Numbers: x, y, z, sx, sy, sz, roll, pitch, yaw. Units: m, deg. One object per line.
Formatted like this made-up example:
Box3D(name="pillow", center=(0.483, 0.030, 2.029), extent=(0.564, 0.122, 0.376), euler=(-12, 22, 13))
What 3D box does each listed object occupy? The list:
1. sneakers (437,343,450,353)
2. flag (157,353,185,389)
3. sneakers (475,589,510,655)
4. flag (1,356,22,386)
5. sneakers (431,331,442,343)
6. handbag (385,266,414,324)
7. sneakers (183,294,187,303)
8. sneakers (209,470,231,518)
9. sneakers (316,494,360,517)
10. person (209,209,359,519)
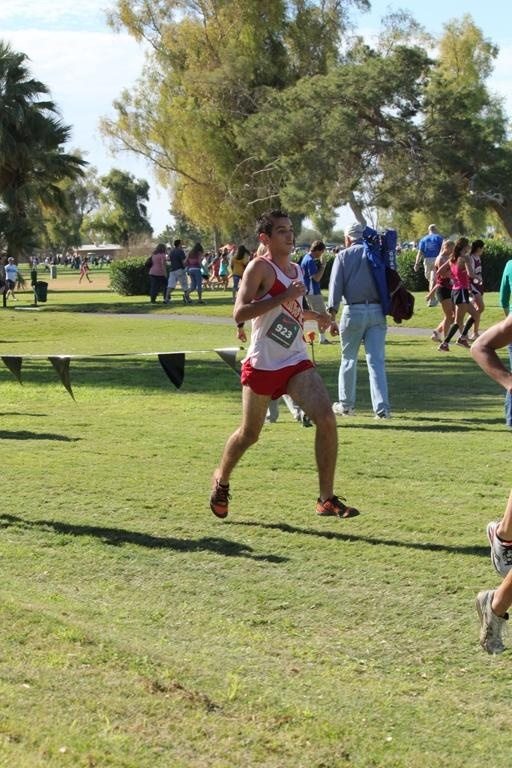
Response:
Box3D(name="sneakers", center=(3.283, -0.602, 14.869), extent=(0.130, 0.091, 0.291), euler=(-29, -20, 19))
Box3D(name="flag", center=(-0.640, -0.096, 6.708), extent=(0.105, 0.271, 0.297), euler=(1, 8, -17))
Box3D(name="sneakers", center=(0.816, 0.837, 3.000), extent=(0.099, 0.231, 0.116), euler=(-8, 5, -29))
Box3D(name="flag", center=(-2.721, -0.116, 9.451), extent=(0.259, 0.375, 0.084), euler=(-10, 8, 8))
Box3D(name="sneakers", center=(3.336, -0.849, 15.775), extent=(0.125, 0.130, 0.317), euler=(-9, -33, 18))
Box3D(name="handbag", center=(1.501, -0.914, 8.956), extent=(0.291, 0.576, 0.914), euler=(3, 7, 8))
Box3D(name="sneakers", center=(-2.447, -2.893, 29.228), extent=(0.160, 0.318, 0.116), euler=(-4, -4, -11))
Box3D(name="sneakers", center=(-0.219, 0.630, 4.815), extent=(0.104, 0.241, 0.111), euler=(-1, -14, -26))
Box3D(name="sneakers", center=(0.443, 0.683, 4.758), extent=(0.258, 0.111, 0.106), euler=(2, 5, 9))
Box3D(name="person", center=(0.162, -0.093, 4.868), extent=(0.818, 1.794, 0.796), euler=(1, 8, -3))
